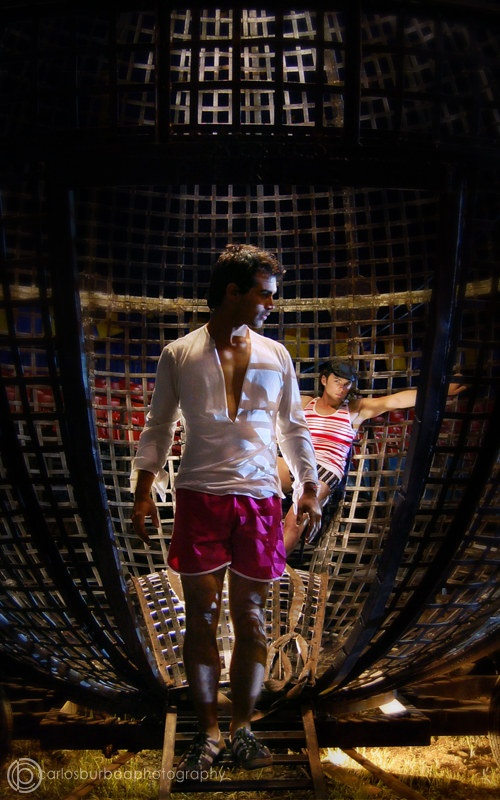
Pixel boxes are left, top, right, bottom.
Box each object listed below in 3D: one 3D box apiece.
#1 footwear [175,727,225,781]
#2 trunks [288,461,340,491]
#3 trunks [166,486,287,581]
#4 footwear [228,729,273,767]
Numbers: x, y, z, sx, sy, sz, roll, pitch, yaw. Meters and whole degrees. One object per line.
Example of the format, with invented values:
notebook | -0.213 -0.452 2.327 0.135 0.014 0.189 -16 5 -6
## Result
footwear | -0.083 0.652 1.296 0.042 0.050 0.122 -21 -14 20
trunks | 0.208 0.219 2.093 0.080 0.065 0.085 4 16 30
trunks | -0.042 0.277 1.442 0.247 0.180 0.140 4 -13 -12
footwear | 0.002 0.636 1.282 0.038 0.044 0.103 -3 -15 -16
